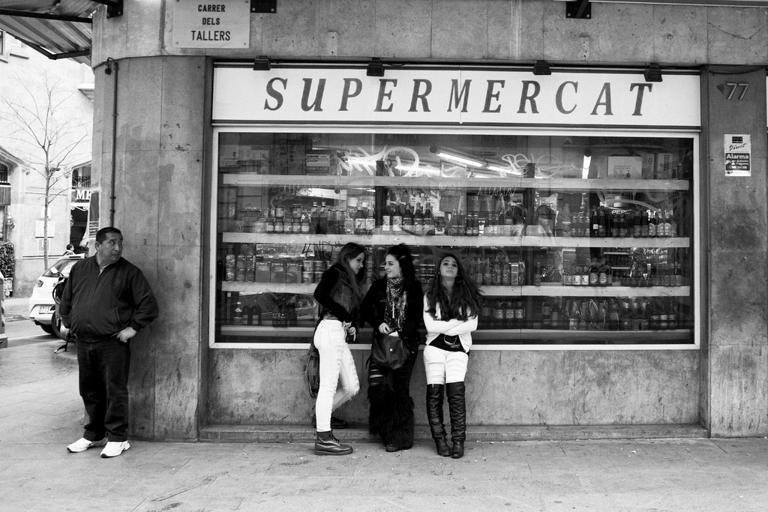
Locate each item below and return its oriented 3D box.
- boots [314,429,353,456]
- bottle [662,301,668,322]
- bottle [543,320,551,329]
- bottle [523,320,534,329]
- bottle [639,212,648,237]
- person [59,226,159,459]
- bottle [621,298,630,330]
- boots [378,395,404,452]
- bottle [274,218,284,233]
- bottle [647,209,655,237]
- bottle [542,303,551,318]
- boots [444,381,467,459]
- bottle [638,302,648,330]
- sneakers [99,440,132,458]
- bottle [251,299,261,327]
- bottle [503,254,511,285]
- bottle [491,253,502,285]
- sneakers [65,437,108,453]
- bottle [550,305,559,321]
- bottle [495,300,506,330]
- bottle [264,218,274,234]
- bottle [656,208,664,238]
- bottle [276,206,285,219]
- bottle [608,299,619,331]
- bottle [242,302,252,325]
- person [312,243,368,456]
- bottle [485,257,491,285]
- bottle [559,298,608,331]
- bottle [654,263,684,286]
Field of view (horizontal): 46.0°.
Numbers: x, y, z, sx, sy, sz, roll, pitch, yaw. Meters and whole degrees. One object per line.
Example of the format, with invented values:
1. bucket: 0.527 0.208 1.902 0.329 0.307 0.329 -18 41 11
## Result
1. boots: -0.673 2.343 11.376 0.611 0.407 0.217 0 -2 -6
2. bottle: 3.737 0.749 12.054 0.077 0.239 0.024 1 -1 14
3. bottle: 2.174 0.920 12.132 0.126 0.108 0.057 1 -1 0
4. bottle: 1.933 0.924 12.132 0.111 0.068 0.107 0 0 0
5. bottle: 3.484 -0.423 12.219 0.098 0.316 0.034 0 -1 16
6. person: -3.450 1.067 11.301 1.161 2.827 0.412 1 -1 -13
7. bottle: 3.243 0.782 12.170 0.129 0.392 0.053 1 -1 13
8. boots: 0.075 2.110 11.333 0.254 0.669 0.111 1 -1 3
9. bottle: -1.433 -0.401 12.121 0.164 0.299 0.183 0 3 -1
10. bottle: 3.600 -0.432 12.200 0.098 0.336 0.034 1 -1 14
11. bottle: 2.179 0.752 12.185 0.125 0.176 0.156 0 -5 -2
12. boots: 0.878 2.024 11.229 0.242 0.933 0.235 1 -1 0
13. bottle: 3.467 0.789 12.124 0.135 0.388 0.075 1 -1 13
14. sneakers: -3.304 2.388 11.227 0.407 0.199 0.182 1 -1 -44
15. bottle: -1.722 0.766 12.086 0.122 0.326 0.084 1 -1 -7
16. bottle: 1.646 0.191 12.216 0.115 0.406 0.017 1 -1 -6
17. bottle: 1.509 0.181 12.209 0.143 0.407 0.021 1 -1 -1
18. sneakers: -3.761 2.380 11.407 0.483 0.206 0.172 6 1 -29
19. bottle: 2.286 0.778 12.186 0.115 0.181 0.035 1 -1 -11
20. bottle: 1.548 0.778 12.121 0.161 0.349 0.070 1 -1 3
21. bottle: -1.560 -0.406 12.261 0.166 0.301 0.166 0 4 0
22. bottle: 3.688 -0.447 12.173 0.141 0.366 0.055 1 -1 8
23. bottle: -1.408 -0.599 12.407 0.135 0.247 0.135 0 1 0
24. bottle: 3.086 0.788 12.185 0.148 0.382 0.058 0 -1 16
25. bottle: -1.838 0.784 12.056 0.121 0.286 0.069 1 -1 -7
26. person: -0.583 1.149 11.353 0.651 2.632 0.357 1 -1 -19
27. bottle: 1.390 0.206 12.198 0.094 0.355 0.016 1 -1 -8
28. bottle: 2.700 0.782 12.200 0.598 0.396 0.149 1 -1 -11
29. bottle: 3.810 0.246 12.074 0.301 0.277 0.097 0 -5 12
